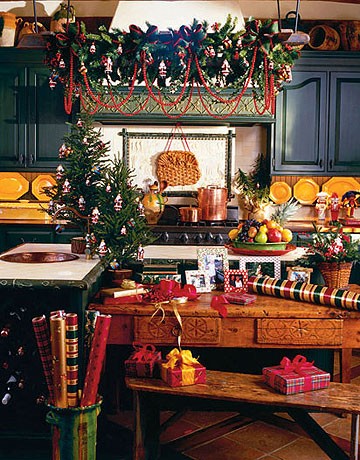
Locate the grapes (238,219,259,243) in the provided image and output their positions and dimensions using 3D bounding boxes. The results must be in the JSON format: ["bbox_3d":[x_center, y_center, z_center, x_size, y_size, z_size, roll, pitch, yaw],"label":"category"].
[{"bbox_3d":[0.390,0.012,2.645,0.108,0.125,0.068,-3,-26,38],"label":"grapes"}]

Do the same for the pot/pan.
[{"bbox_3d":[0.117,-0.262,4.725,0.681,0.374,0.337,-1,6,-3],"label":"pot/pan"}]

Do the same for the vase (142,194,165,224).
[{"bbox_3d":[-0.261,-0.207,4.602,0.329,0.351,0.307,0,4,-6],"label":"vase"}]

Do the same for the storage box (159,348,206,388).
[{"bbox_3d":[0.011,0.520,1.861,0.155,0.086,0.142,1,4,12],"label":"storage box"}]

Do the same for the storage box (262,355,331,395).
[{"bbox_3d":[0.451,0.544,1.847,0.236,0.107,0.178,-1,3,-21],"label":"storage box"}]

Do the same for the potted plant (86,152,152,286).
[{"bbox_3d":[-0.326,-0.050,2.532,0.320,0.646,0.360,0,3,-11],"label":"potted plant"}]

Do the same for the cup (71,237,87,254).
[{"bbox_3d":[-0.561,0.082,2.734,0.111,0.089,0.099,2,2,18],"label":"cup"}]

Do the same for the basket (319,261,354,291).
[{"bbox_3d":[0.781,0.230,2.407,0.157,0.102,0.146,1,-3,-1],"label":"basket"}]

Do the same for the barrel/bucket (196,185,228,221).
[{"bbox_3d":[0.312,-0.253,4.685,0.278,0.330,0.197,1,3,5],"label":"barrel/bucket"}]

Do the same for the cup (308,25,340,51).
[{"bbox_3d":[1.463,-1.945,4.897,0.292,0.268,0.132,1,3,11],"label":"cup"}]
